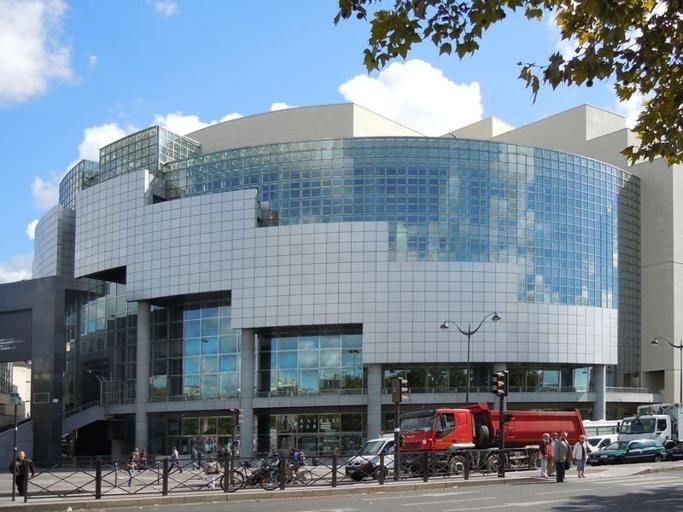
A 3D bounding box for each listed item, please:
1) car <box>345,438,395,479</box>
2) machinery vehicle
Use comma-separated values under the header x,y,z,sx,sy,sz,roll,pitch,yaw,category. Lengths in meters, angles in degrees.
x,y,z,sx,sy,sz,roll,pitch,yaw,category
1.626,11.840,60.518,2.077,2.582,2.192,8,-14,-44,car
7.800,10.835,60.916,10.305,3.698,3.657,2,-8,-14,machinery vehicle
